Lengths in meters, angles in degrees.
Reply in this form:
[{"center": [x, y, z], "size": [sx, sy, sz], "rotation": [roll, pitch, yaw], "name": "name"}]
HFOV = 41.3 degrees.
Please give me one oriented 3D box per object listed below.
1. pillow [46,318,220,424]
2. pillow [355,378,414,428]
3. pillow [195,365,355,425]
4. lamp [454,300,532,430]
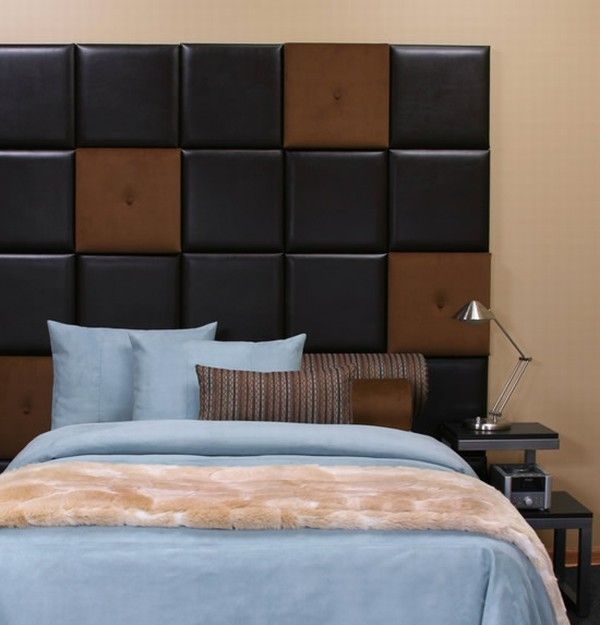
[{"center": [-0.622, 0.236, 2.927], "size": [0.344, 0.362, 0.126], "rotation": [0, -16, -3], "name": "pillow"}, {"center": [0.311, 0.335, 2.960], "size": [0.167, 0.203, 0.087], "rotation": [0, -10, -5], "name": "pillow"}, {"center": [-0.078, 0.296, 2.795], "size": [0.573, 0.192, 0.225], "rotation": [3, 2, -11], "name": "pillow"}, {"center": [0.785, 0.209, 3.225], "size": [0.283, 0.505, 0.476], "rotation": [4, 2, 39], "name": "lamp"}]
